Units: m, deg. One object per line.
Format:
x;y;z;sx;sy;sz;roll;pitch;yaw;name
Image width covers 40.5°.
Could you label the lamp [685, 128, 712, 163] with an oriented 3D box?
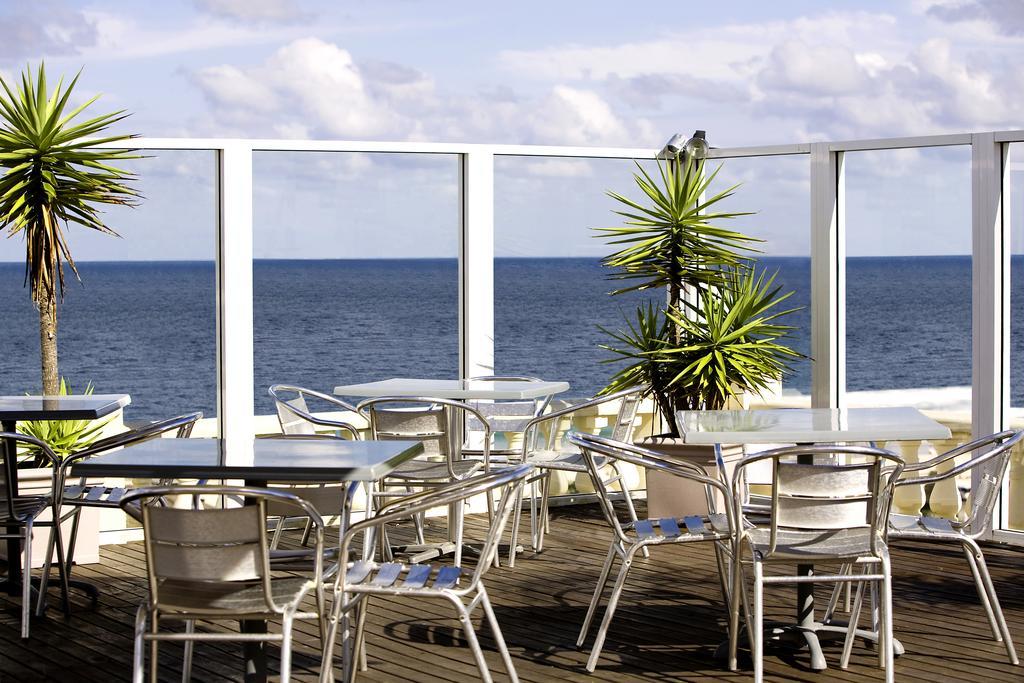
1.378;-1.459;10.357;0.192;0.206;0.224;-1;-21;6;lamp
